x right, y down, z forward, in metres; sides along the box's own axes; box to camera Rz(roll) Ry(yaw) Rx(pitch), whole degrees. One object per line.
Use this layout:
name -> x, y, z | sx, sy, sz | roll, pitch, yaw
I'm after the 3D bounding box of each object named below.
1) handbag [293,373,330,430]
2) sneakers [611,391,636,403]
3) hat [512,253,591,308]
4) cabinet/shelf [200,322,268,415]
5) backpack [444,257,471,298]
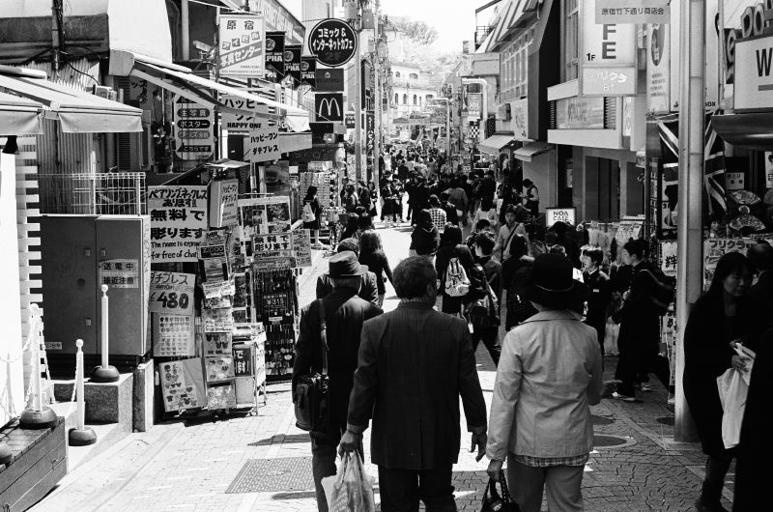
handbag -> -0.726, 1.460, 10.373 | 0.342, 0.602, 0.187 | -2, 9, -1
sneakers -> 3.221, 1.908, 14.259 | 0.328, 0.096, 0.201 | 1, 11, 18
hat -> 1.652, 0.268, 10.497 | 0.479, 0.255, 0.596 | -3, 36, -3
cabinet/shelf -> -2.106, 1.581, 14.693 | 0.777, 1.183, 0.750 | -3, 9, -3
backpack -> 1.029, 0.317, 14.925 | 0.444, 0.641, 0.328 | -3, -7, 14
